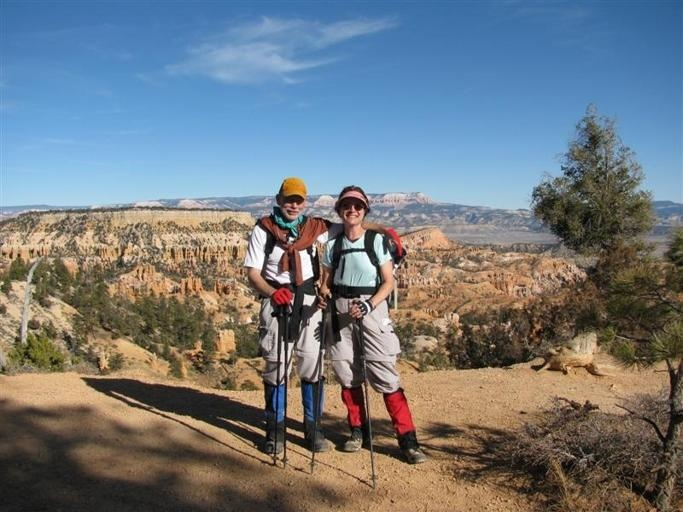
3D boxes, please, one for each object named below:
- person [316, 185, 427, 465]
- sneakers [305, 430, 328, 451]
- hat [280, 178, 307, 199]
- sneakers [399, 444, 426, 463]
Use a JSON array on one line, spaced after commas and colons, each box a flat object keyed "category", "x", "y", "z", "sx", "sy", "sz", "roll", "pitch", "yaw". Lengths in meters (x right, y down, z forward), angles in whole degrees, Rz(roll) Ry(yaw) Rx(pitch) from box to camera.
[{"category": "person", "x": 0.336, "y": 0.930, "z": 6.821, "sx": 1.245, "sy": 3.702, "sz": 0.848, "roll": -1, "pitch": -1, "yaw": -2}, {"category": "sneakers", "x": -0.347, "y": 2.583, "z": 6.998, "sx": 0.184, "sy": 0.216, "sz": 0.489, "roll": 5, "pitch": -13, "yaw": -26}, {"category": "hat", "x": -0.664, "y": -0.905, "z": 6.775, "sx": 0.348, "sy": 0.282, "sz": 0.362, "roll": -1, "pitch": -1, "yaw": -3}, {"category": "sneakers", "x": 0.961, "y": 2.679, "z": 6.841, "sx": 0.382, "sy": 0.196, "sz": 0.270, "roll": -1, "pitch": -2, "yaw": 16}]
